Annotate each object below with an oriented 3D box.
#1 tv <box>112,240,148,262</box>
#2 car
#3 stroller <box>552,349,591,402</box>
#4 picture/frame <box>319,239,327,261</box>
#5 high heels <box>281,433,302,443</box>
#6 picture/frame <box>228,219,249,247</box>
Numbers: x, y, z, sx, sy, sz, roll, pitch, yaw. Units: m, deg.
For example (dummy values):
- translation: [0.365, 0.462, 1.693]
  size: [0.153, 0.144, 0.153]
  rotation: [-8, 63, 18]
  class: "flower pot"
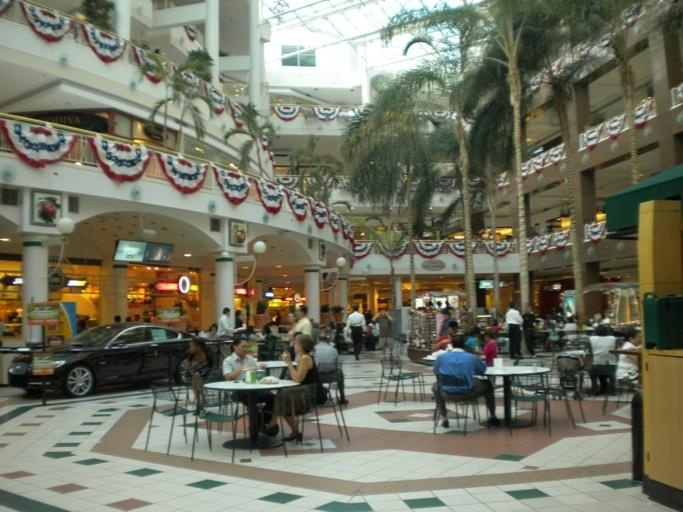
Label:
- translation: [-6.665, -0.136, 18.889]
  size: [0.120, 0.510, 0.851]
  rotation: [13, 2, 36]
  class: "tv"
- translation: [-5.282, 2.412, 14.438]
  size: [4.575, 1.223, 1.902]
  rotation: [5, -9, -42]
  class: "car"
- translation: [4.289, 2.243, 11.104]
  size: [0.703, 0.693, 0.586]
  rotation: [5, -7, -27]
  class: "stroller"
- translation: [-0.851, -0.268, 25.943]
  size: [0.334, 0.871, 0.995]
  rotation: [-1, -6, 11]
  class: "picture/frame"
- translation: [-0.730, 2.809, 9.318]
  size: [0.400, 0.139, 0.127]
  rotation: [0, -3, 23]
  class: "high heels"
- translation: [-3.495, -0.752, 19.944]
  size: [0.350, 0.818, 1.036]
  rotation: [-3, -5, 25]
  class: "picture/frame"
